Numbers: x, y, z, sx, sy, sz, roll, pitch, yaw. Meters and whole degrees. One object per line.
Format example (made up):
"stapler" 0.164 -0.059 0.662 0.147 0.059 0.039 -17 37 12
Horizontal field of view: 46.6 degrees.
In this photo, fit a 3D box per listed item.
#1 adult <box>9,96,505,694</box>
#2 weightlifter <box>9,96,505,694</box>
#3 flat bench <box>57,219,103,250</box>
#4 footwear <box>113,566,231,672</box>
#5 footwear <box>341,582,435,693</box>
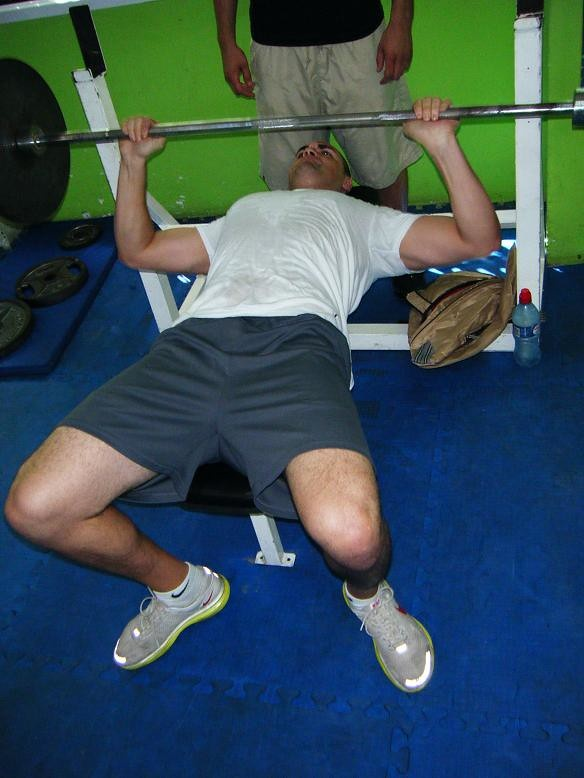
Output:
"adult" 0.095 -0.097 1.817 0.943 0.615 1.464 2 48 13
"weightlifter" 0.071 -0.127 1.771 0.943 0.615 1.464 2 48 13
"flat bench" -0.996 -0.734 3.193 0.208 0.048 0.199 3 43 14
"footwear" -0.262 0.515 1.501 0.285 0.125 0.095 -39 58 -11
"footwear" 0.176 0.471 1.352 0.192 0.244 0.133 5 42 27
